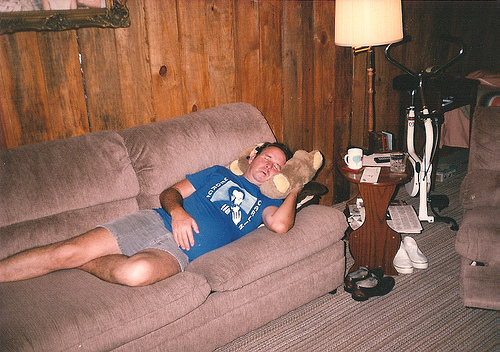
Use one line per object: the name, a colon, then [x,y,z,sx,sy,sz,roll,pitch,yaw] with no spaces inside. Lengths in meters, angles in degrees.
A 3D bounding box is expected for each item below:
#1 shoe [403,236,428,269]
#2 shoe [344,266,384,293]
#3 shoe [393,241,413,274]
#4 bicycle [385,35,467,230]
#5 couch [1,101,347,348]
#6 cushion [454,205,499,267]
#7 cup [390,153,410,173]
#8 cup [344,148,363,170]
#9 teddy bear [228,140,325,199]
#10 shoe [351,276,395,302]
shoe: [1.242,0.582,3.112,0.113,0.094,0.255,-11,31,-7]
shoe: [0.835,0.700,2.927,0.358,0.138,0.119,-19,21,-29]
shoe: [1.123,0.623,2.989,0.095,0.094,0.250,-1,8,14]
bicycle: [1.483,-0.397,3.516,0.601,1.570,1.687,1,22,21]
couch: [-0.489,0.368,2.562,1.915,1.268,1.047,-14,22,-18]
cushion: [1.431,0.375,2.555,0.347,0.338,0.136,10,-9,4]
cup: [1.081,-0.098,2.970,0.130,0.141,0.128,1,7,0]
cup: [0.767,-0.130,2.984,0.165,0.143,0.104,-6,21,-2]
teddy bear: [0.150,-0.061,2.750,0.456,0.180,0.458,21,46,34]
shoe: [0.840,0.729,2.777,0.263,0.092,0.142,-16,27,-17]
